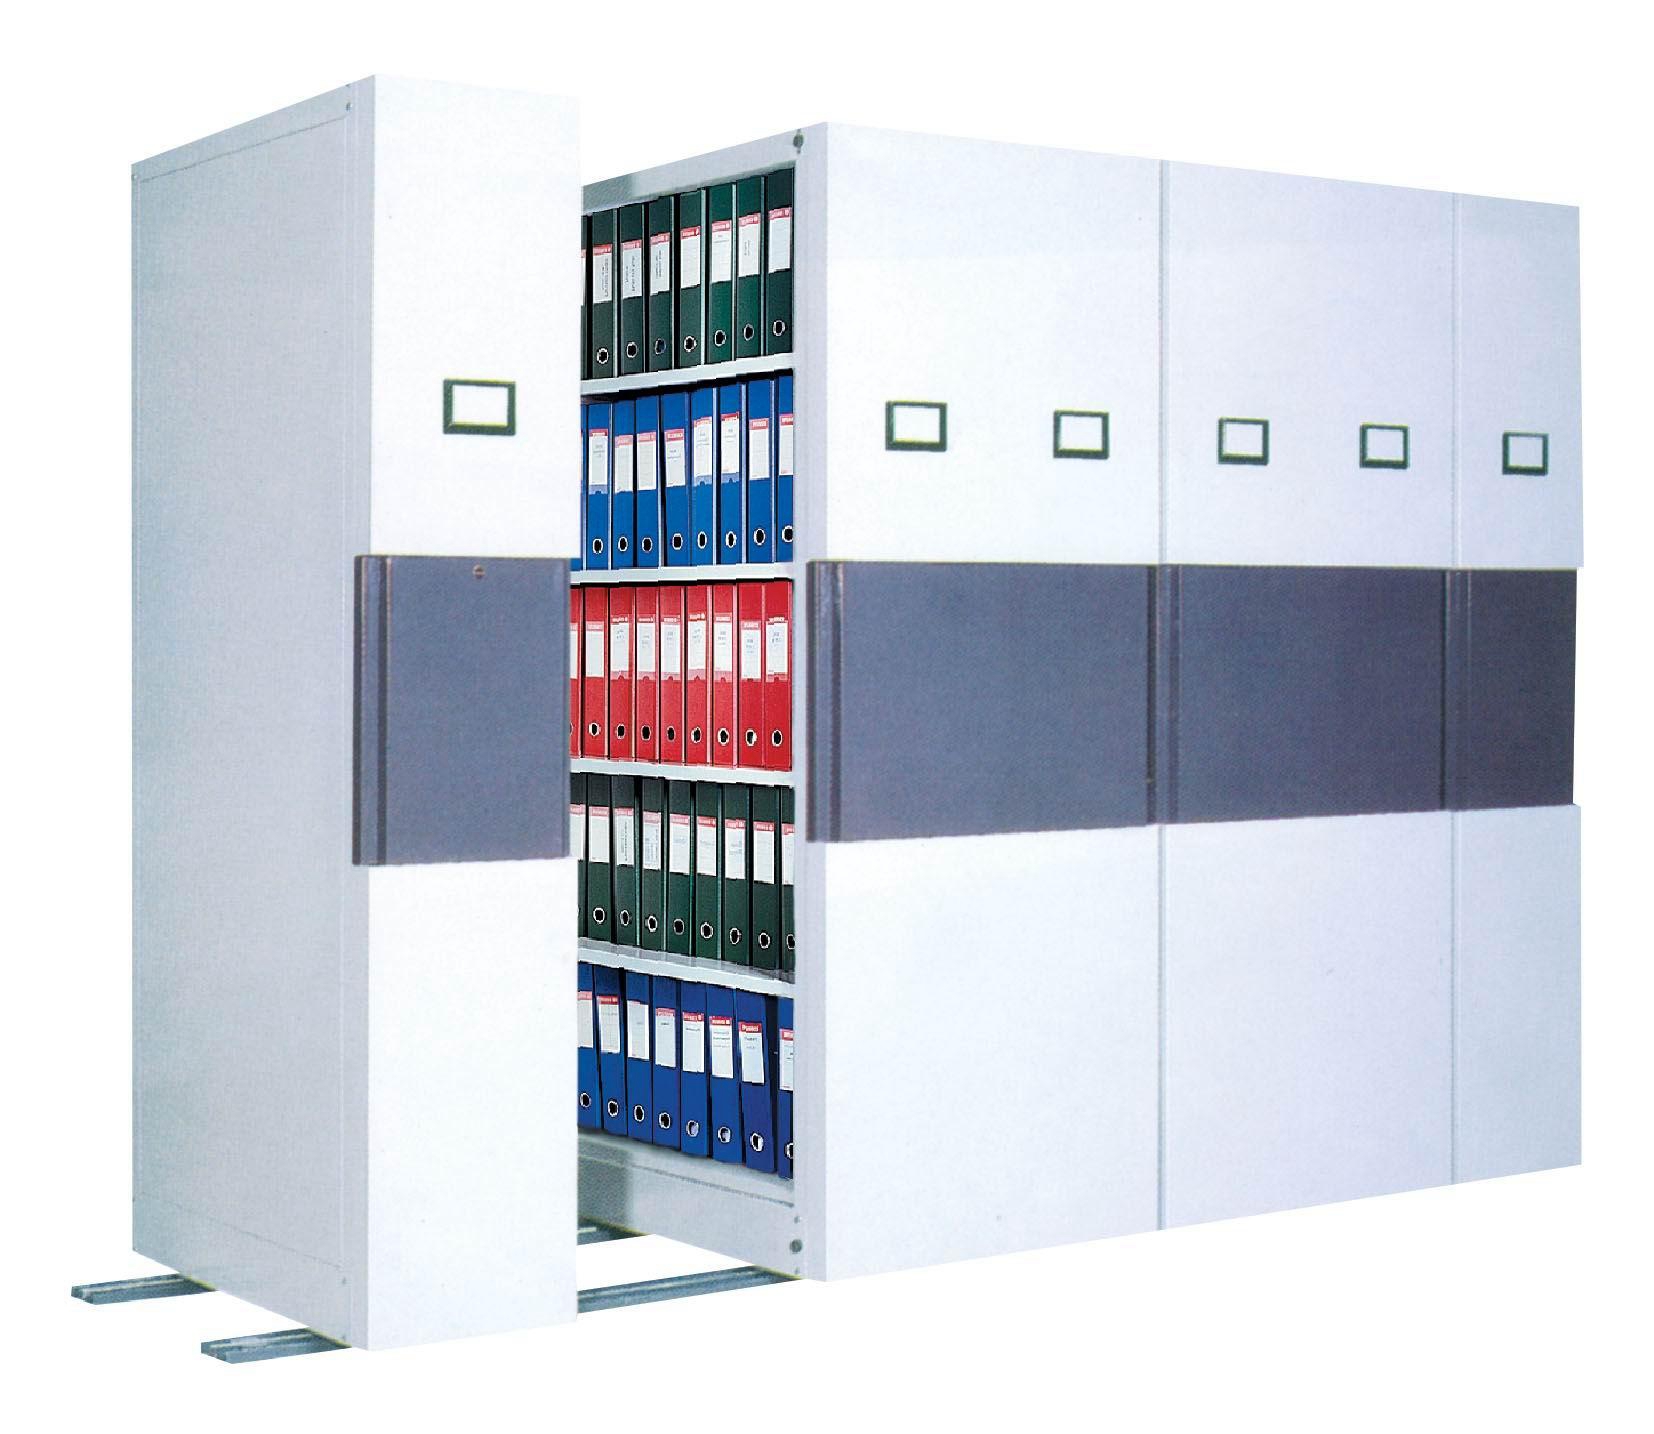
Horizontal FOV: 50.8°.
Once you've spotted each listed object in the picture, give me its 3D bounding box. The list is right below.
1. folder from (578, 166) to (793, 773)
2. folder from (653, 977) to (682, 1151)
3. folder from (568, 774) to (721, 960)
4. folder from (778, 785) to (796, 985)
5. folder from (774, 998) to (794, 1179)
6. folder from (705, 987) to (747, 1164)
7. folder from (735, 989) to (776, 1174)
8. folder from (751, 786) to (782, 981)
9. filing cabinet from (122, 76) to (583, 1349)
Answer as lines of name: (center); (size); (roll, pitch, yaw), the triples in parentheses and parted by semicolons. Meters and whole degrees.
folder: (-0.314, -0.547, 3.900); (0.271, 1.352, 0.910); (6, -10, -34)
folder: (-0.371, 0.796, 4.058); (0.022, 0.385, 0.122); (3, -5, -37)
folder: (-0.409, 0.347, 4.022); (0.384, 0.447, 0.215); (-3, -5, 41)
folder: (-0.089, 0.352, 3.769); (0.031, 0.403, 0.082); (1, -8, -6)
folder: (-0.091, 0.795, 3.771); (0.020, 0.376, 0.084); (4, -9, -22)
folder: (-0.242, 0.798, 3.917); (0.032, 0.386, 0.145); (-16, -22, 34)
folder: (-0.159, 0.793, 3.832); (0.120, 0.381, 0.033); (-7, -11, 42)
folder: (-0.139, 0.347, 3.819); (0.115, 0.393, 0.049); (-7, -11, 42)
filing cabinet: (-1.014, -0.017, 3.609); (0.987, 2.295, 0.452); (4, 4, 42)
